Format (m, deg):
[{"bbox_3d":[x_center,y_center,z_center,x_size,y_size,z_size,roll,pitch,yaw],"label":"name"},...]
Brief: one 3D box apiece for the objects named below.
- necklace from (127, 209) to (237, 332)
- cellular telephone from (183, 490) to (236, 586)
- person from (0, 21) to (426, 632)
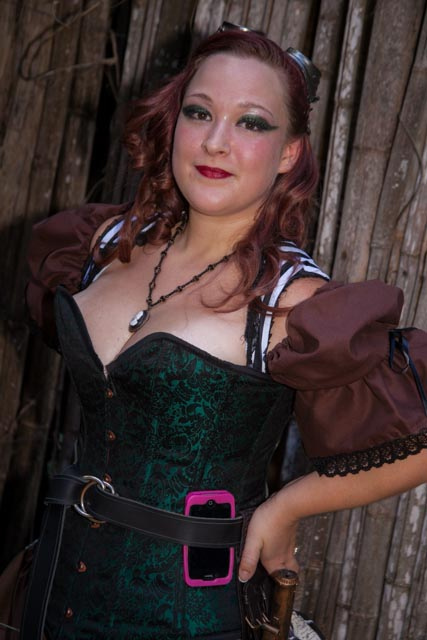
[{"bbox_3d":[-0.095,-0.087,1.472,0.236,0.305,0.023,28,-28,24],"label":"necklace"},{"bbox_3d":[-0.011,0.432,1.231,0.112,0.181,0.018,9,-20,-24],"label":"cellular telephone"},{"bbox_3d":[-0.021,-0.024,1.419,0.637,0.898,1.006,7,9,-38],"label":"person"}]
